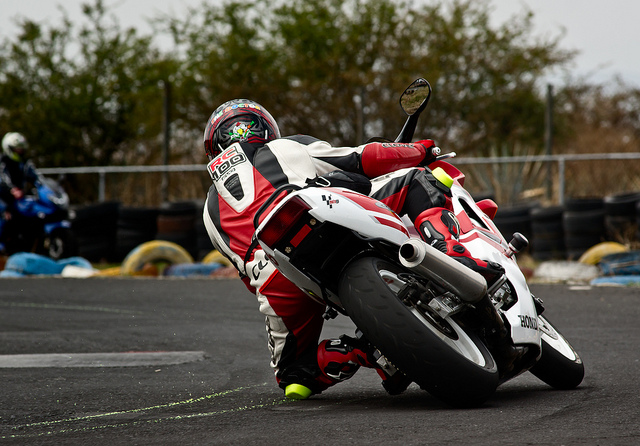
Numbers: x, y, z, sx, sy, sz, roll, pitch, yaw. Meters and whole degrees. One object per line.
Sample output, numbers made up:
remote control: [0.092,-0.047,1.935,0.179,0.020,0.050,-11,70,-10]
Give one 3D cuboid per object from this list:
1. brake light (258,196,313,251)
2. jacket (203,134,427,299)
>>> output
brake light: [-0.171,-0.030,4.608,0.223,0.337,0.448,6,8,13]
jacket: [-0.108,-0.128,5.116,1.312,0.865,0.366,0,2,-1]
